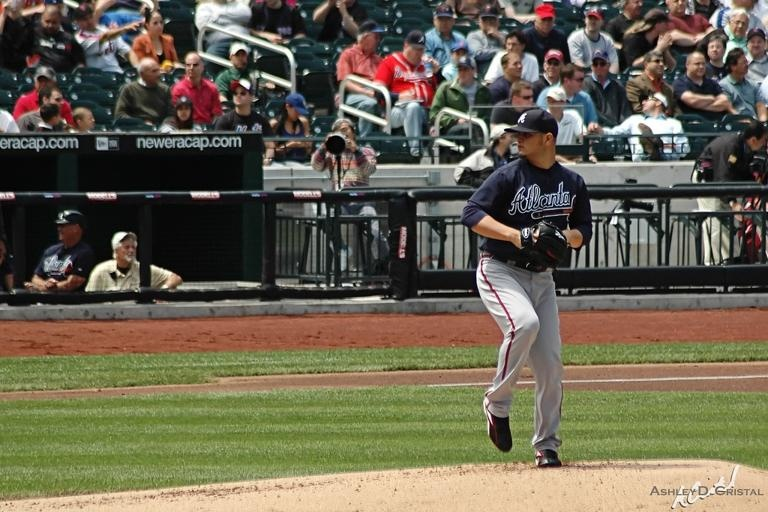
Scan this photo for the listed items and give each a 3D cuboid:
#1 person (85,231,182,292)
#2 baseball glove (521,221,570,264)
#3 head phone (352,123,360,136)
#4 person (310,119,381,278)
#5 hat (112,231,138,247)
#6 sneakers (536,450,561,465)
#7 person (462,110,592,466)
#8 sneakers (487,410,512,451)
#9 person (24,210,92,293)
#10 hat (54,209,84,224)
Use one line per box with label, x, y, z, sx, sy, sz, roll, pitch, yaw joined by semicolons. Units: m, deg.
person;-3.784;0.078;29.833;1.315;0.860;0.540;-1;-2;-9
baseball glove;1.952;-0.156;24.097;0.534;0.282;0.419;29;-11;27
head phone;-0.480;-2.004;31.894;0.038;0.149;0.157;-10;15;-20
person;-0.550;-0.930;30.371;0.961;2.332;1.083;0;-3;-16
hat;-3.864;-0.258;29.838;0.337;0.241;0.568;0;-2;-13
sneakers;1.969;2.404;24.077;0.296;0.191;0.175;-1;-2;2
person;1.736;0.375;24.241;1.393;4.285;0.497;-1;-2;3
sneakers;1.372;2.128;24.374;0.201;0.616;0.259;-10;0;-22
person;-4.834;0.049;29.734;0.979;1.456;0.918;-1;8;-15
hat;-4.628;-0.570;29.620;0.318;0.124;0.230;3;-6;-37
